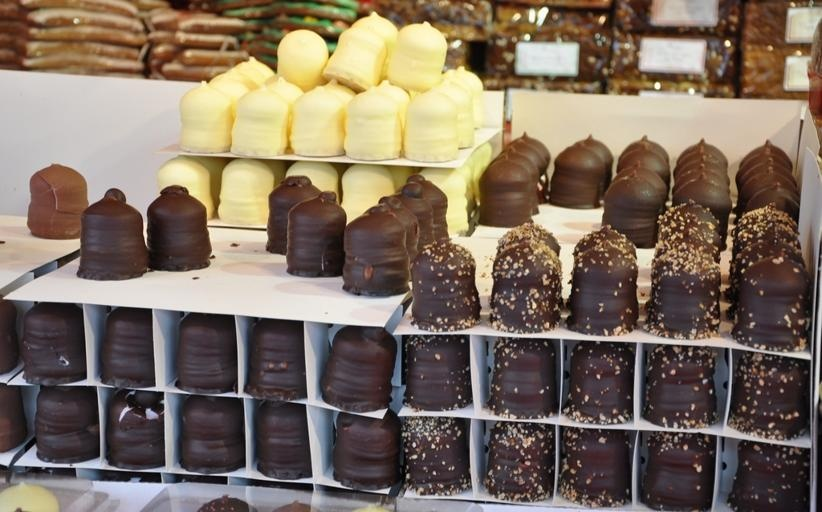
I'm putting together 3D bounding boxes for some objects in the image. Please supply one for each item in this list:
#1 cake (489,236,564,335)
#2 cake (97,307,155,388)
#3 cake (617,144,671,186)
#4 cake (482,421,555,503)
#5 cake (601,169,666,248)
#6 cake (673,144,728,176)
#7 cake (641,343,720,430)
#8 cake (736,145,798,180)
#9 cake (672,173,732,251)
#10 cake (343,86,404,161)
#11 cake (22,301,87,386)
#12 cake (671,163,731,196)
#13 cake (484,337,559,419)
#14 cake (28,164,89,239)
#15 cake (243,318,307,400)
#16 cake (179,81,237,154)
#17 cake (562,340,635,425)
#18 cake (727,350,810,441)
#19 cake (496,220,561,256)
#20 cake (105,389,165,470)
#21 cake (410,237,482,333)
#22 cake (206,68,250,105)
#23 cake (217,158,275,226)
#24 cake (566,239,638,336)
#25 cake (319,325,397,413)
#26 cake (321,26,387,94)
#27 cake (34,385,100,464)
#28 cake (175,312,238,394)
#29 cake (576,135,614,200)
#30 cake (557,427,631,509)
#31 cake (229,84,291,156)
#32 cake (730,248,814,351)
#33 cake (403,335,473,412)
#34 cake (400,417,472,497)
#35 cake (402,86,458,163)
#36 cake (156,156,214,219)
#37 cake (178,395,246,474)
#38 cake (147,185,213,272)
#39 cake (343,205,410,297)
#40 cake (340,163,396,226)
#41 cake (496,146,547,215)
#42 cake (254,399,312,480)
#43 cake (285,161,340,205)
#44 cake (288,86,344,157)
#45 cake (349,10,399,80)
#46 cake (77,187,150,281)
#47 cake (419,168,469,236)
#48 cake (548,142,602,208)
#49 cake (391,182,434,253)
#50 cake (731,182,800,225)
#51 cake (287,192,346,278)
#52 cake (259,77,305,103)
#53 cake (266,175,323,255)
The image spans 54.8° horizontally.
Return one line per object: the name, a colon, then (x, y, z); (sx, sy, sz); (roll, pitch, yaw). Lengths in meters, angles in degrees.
cake: (0.442, 0.082, 3.073); (0.326, 0.320, 0.316); (7, 18, 31)
cake: (-1.134, 0.365, 3.180); (0.209, 0.302, 0.112); (0, 7, -10)
cake: (1.270, -0.525, 4.241); (0.284, 0.263, 0.279); (-1, 10, 3)
cake: (0.421, 0.812, 3.234); (0.301, 0.288, 0.292); (1, 4, 0)
cake: (1.044, -0.205, 3.780); (0.305, 0.386, 0.260); (1, 7, -7)
cake: (1.551, -0.535, 4.197); (0.244, 0.141, 0.239); (-9, 20, -14)
cake: (1.052, 0.494, 3.116); (0.327, 0.330, 0.323); (10, -20, -24)
cake: (1.937, -0.557, 4.312); (0.271, 0.150, 0.270); (1, 4, 11)
cake: (1.331, -0.230, 3.765); (0.313, 0.340, 0.348); (0, 22, 5)
cake: (-0.181, -0.641, 3.747); (0.326, 0.324, 0.324); (7, 16, 22)
cake: (-1.465, 0.347, 3.287); (0.286, 0.307, 0.304); (10, 7, 30)
cake: (1.426, -0.407, 3.862); (0.229, 0.138, 0.224); (-16, 25, -6)
cake: (0.450, 0.463, 3.135); (0.285, 0.283, 0.293); (-1, 5, -7)
cake: (-1.640, -0.252, 3.667); (0.248, 0.337, 0.144); (-2, 8, -27)
cake: (-0.557, 0.405, 3.208); (0.302, 0.311, 0.289); (-1, 4, 4)
cake: (-1.008, -0.689, 3.851); (0.295, 0.322, 0.299); (20, 26, 35)
cake: (0.745, 0.478, 3.108); (0.267, 0.272, 0.284); (7, 9, 30)
cake: (1.388, 0.515, 3.068); (0.296, 0.295, 0.307); (7, 10, 41)
cake: (0.475, -0.065, 3.348); (0.226, 0.148, 0.256); (-13, -12, 3)
cake: (-1.114, 0.701, 3.345); (0.304, 0.299, 0.291); (1, 1, 38)
cake: (0.148, 0.088, 3.072); (0.327, 0.314, 0.302); (4, 16, 17)
cake: (-0.906, -0.861, 3.960); (0.202, 0.187, 0.200); (-7, 24, -19)
cake: (-0.763, -0.334, 3.910); (0.312, 0.321, 0.307); (11, 22, 14)
cake: (0.736, 0.112, 3.016); (0.264, 0.355, 0.172); (2, 7, 9)
cake: (-0.210, 0.417, 3.180); (0.335, 0.350, 0.336); (8, 9, 1)
cake: (-0.259, -1.000, 3.960); (0.284, 0.295, 0.280); (19, 6, 29)
cake: (-1.410, 0.687, 3.248); (0.238, 0.304, 0.106); (-1, 7, -16)
cake: (-0.853, 0.405, 3.247); (0.286, 0.308, 0.292); (-1, 1, -38)
cake: (1.057, -0.493, 4.427); (0.315, 0.332, 0.309); (0, 14, 3)
cake: (0.718, 0.829, 3.207); (0.306, 0.281, 0.293); (0, 3, 0)
cake: (-0.709, -0.662, 3.797); (0.293, 0.298, 0.291); (7, 21, 17)
cake: (1.406, 0.134, 3.032); (0.292, 0.366, 0.375); (3, 15, 29)
cake: (0.107, 0.447, 3.183); (0.291, 0.285, 0.281); (-3, 3, -18)
cake: (0.097, 0.794, 3.255); (0.301, 0.287, 0.293); (-1, 0, -2)
cake: (0.114, -0.638, 3.773); (0.321, 0.345, 0.316); (-13, 17, -43)
cake: (-1.140, -0.340, 3.893); (0.299, 0.304, 0.291); (-2, 16, -9)
cake: (-0.812, 0.723, 3.268); (0.272, 0.271, 0.268); (0, -1, 9)
cake: (-0.995, -0.130, 3.410); (0.323, 0.341, 0.298); (10, 15, 37)
cake: (-0.115, -0.040, 3.225); (0.335, 0.352, 0.325); (3, 12, 21)
cake: (-0.215, -0.299, 3.716); (0.260, 0.341, 0.260); (9, 14, 35)
cake: (0.555, -0.379, 4.029); (0.266, 0.281, 0.267); (18, 33, 37)
cake: (-0.475, 0.716, 3.251); (0.278, 0.291, 0.278); (4, 15, 10)
cake: (-0.466, -0.374, 3.810); (0.221, 0.211, 0.218); (4, 14, 8)
cake: (-0.461, -0.633, 3.788); (0.279, 0.292, 0.283); (28, 37, 36)
cake: (-0.154, -1.079, 4.073); (0.310, 0.367, 0.304); (5, 13, -6)
cake: (-1.167, -0.074, 3.259); (0.313, 0.386, 0.340); (0, 21, -10)
cake: (0.215, -0.302, 3.941); (0.306, 0.322, 0.302); (6, 22, 14)
cake: (0.892, -0.443, 4.358); (0.308, 0.326, 0.322); (7, 29, 16)
cake: (-0.003, -0.232, 3.562); (0.215, 0.313, 0.209); (-5, 53, -4)
cake: (1.683, -0.244, 3.667); (0.331, 0.177, 0.317); (5, -1, 13)
cake: (-0.369, -0.111, 3.408); (0.316, 0.318, 0.296); (9, 17, 22)
cake: (-0.621, -0.817, 3.870); (0.180, 0.107, 0.176); (2, 20, 0)
cake: (-0.567, -0.200, 3.598); (0.314, 0.318, 0.325); (-5, 17, -39)
